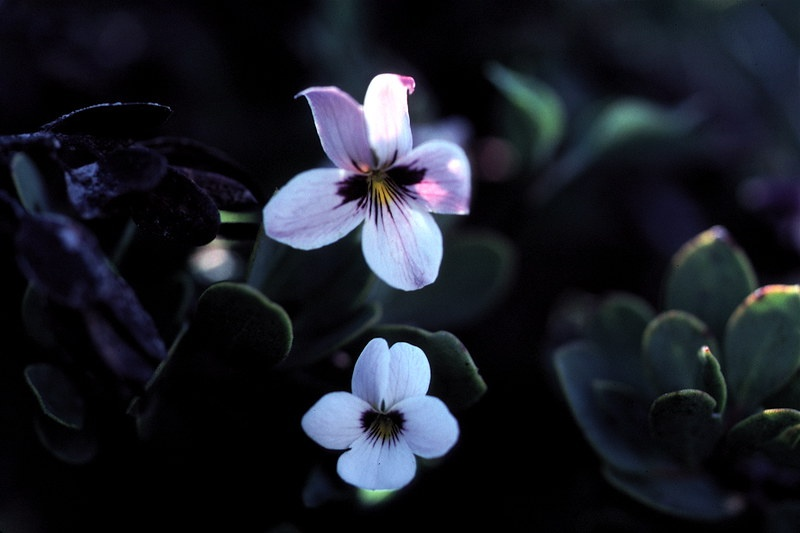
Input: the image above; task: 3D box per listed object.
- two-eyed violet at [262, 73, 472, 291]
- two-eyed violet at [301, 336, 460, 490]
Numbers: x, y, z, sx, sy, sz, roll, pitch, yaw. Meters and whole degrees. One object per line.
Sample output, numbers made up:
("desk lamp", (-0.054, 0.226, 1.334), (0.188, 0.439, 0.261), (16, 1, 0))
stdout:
("two-eyed violet", (-0.025, -0.063, 0.615), (0.158, 0.167, 0.054), (-33, 3, 5))
("two-eyed violet", (-0.014, 0.114, 0.632), (0.121, 0.116, 0.045), (7, 13, 5))
